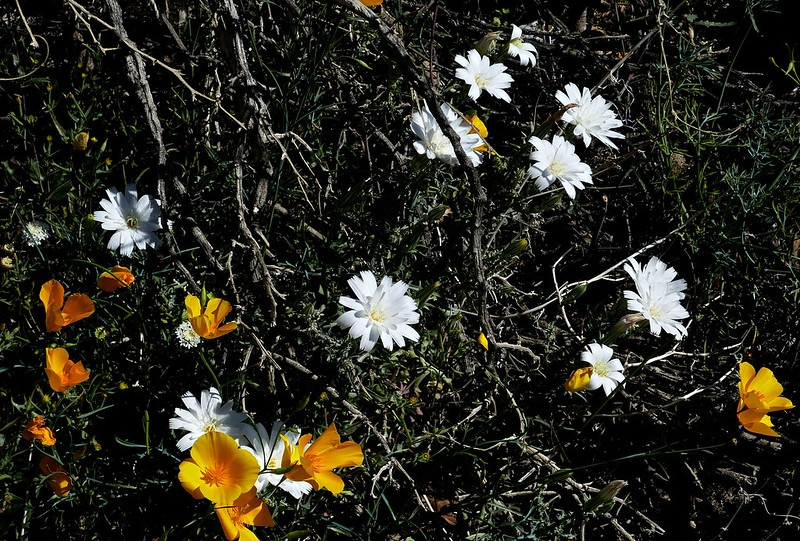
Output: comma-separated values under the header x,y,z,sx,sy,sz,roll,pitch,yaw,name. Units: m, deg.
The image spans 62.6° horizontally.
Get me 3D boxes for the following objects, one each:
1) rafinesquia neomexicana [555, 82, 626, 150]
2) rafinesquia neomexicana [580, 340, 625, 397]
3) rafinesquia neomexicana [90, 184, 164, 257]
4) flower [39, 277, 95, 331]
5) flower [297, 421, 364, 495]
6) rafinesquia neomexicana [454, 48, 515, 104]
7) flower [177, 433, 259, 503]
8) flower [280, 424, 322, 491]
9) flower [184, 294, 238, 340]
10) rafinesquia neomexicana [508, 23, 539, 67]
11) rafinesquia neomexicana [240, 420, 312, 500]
x,y,z,sx,sy,sz,roll,pitch,yaw,name
0.682,-0.537,2.403,0.246,0.092,0.261,38,67,-8,rafinesquia neomexicana
0.695,0.331,2.245,0.162,0.057,0.162,48,66,-12,rafinesquia neomexicana
-0.858,-0.162,2.096,0.197,0.092,0.216,2,64,-6,rafinesquia neomexicana
-1.050,0.110,2.105,0.158,0.154,0.141,-16,65,-14,flower
-0.201,0.550,1.915,0.179,0.082,0.200,-20,95,-41,flower
0.293,-0.687,2.320,0.208,0.144,0.185,-2,63,-7,rafinesquia neomexicana
-0.510,0.567,1.839,0.197,0.099,0.226,-8,44,-23,flower
-0.300,0.554,1.952,0.098,0.235,0.214,-10,63,-10,flower
-0.563,0.145,1.987,0.131,0.088,0.135,44,35,12,flower
0.447,-0.823,2.408,0.176,0.055,0.172,62,35,-26,rafinesquia neomexicana
-0.395,0.561,2.004,0.211,0.081,0.244,28,43,-31,rafinesquia neomexicana
